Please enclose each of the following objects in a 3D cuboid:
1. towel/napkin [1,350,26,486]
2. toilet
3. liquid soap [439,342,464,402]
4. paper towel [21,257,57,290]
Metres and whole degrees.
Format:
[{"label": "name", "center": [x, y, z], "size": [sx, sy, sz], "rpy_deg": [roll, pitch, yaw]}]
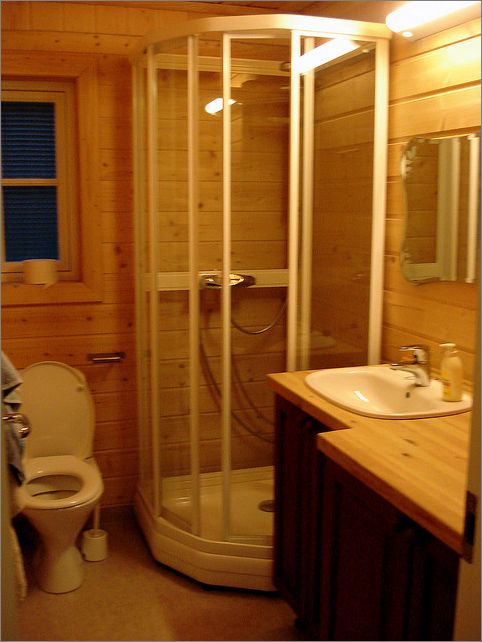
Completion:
[{"label": "towel/napkin", "center": [-0.713, 0.326, 1.774], "size": [0.057, 0.491, 0.353], "rpy_deg": [-4, 8, -22]}, {"label": "toilet", "center": [-0.766, 0.644, 2.398], "size": [0.321, 0.869, 0.548], "rpy_deg": [-4, 7, -17]}, {"label": "liquid soap", "center": [0.623, 0.154, 1.669], "size": [0.053, 0.165, 0.062], "rpy_deg": [-5, 8, -28]}, {"label": "paper towel", "center": [-0.889, -0.217, 2.489], "size": [0.128, 0.090, 0.125], "rpy_deg": [-1, 7, -14]}]
